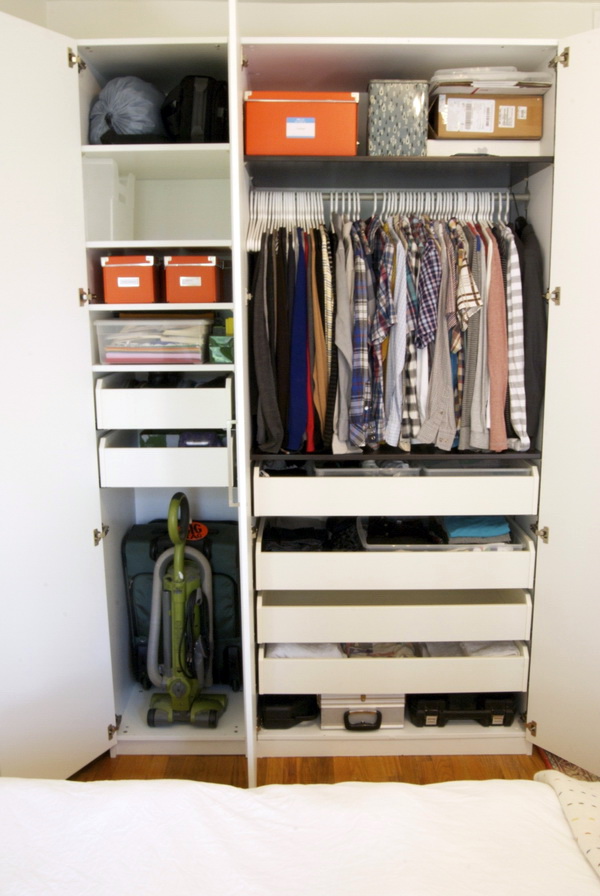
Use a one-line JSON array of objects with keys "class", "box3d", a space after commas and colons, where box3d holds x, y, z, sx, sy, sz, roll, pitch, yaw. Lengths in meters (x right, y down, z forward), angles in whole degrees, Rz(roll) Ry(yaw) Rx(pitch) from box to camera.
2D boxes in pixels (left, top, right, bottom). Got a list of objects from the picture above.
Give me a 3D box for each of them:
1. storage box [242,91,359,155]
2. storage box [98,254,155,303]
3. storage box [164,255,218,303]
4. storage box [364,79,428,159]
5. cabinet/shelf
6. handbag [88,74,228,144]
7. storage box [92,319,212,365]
[{"class": "storage box", "box3d": [0.000, -0.901, 2.096, 0.310, 0.163, 0.058, -1, 10, -7]}, {"class": "storage box", "box3d": [-0.488, -0.477, 2.145, 0.122, 0.146, 0.131, -3, 17, -6]}, {"class": "storage box", "box3d": [-0.315, -0.481, 2.154, 0.121, 0.121, 0.135, 1, 15, 1]}, {"class": "storage box", "box3d": [0.266, -0.924, 2.153, 0.187, 0.300, 0.203, 1, 23, 1]}, {"class": "cabinet/shelf", "box3d": [0.048, -0.080, 2.316, 1.337, 2.046, 0.812, -1, 10, -7]}, {"class": "handbag", "box3d": [-0.397, -0.951, 2.136, 0.318, 0.239, 0.134, -2, 17, -16]}, {"class": "storage box", "box3d": [-0.438, -0.307, 2.187, 0.313, 0.126, 0.103, -2, 11, -12]}]
